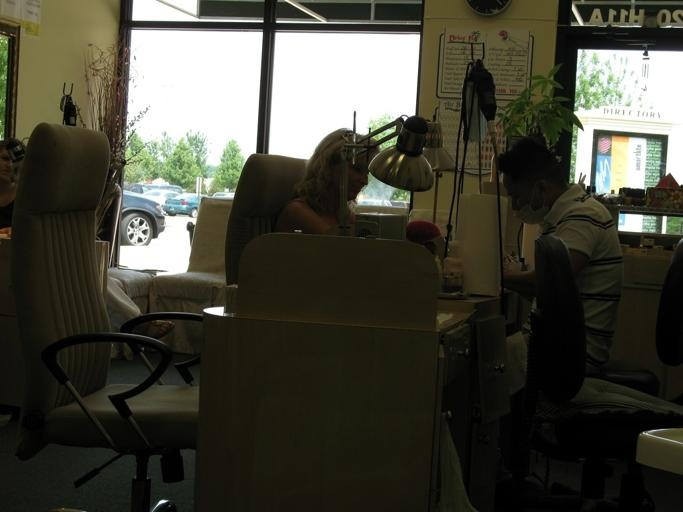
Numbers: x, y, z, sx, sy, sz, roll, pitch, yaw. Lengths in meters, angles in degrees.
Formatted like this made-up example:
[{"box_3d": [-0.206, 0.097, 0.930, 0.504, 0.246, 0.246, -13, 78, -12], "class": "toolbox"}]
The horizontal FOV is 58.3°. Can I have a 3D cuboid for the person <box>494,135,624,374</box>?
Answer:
[{"box_3d": [0.965, 0.116, 2.822, 0.574, 1.240, 0.614, -1, -3, 10], "class": "person"}]

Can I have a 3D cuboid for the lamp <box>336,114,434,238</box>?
[{"box_3d": [0.138, -0.240, 2.026, 0.291, 0.477, 0.218, 0, 34, -5], "class": "lamp"}]

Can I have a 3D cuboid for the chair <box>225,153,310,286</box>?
[{"box_3d": [-0.283, -0.132, 2.313, 0.298, 0.499, 0.198, 2, 5, -12], "class": "chair"}]

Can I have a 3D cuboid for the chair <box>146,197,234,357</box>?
[{"box_3d": [-1.122, 0.119, 5.129, 0.808, 1.343, 0.791, 1, -4, 39], "class": "chair"}]

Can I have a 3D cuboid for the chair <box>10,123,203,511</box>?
[{"box_3d": [-0.851, 0.267, 2.204, 0.674, 1.437, 0.503, 5, 5, 27], "class": "chair"}]
